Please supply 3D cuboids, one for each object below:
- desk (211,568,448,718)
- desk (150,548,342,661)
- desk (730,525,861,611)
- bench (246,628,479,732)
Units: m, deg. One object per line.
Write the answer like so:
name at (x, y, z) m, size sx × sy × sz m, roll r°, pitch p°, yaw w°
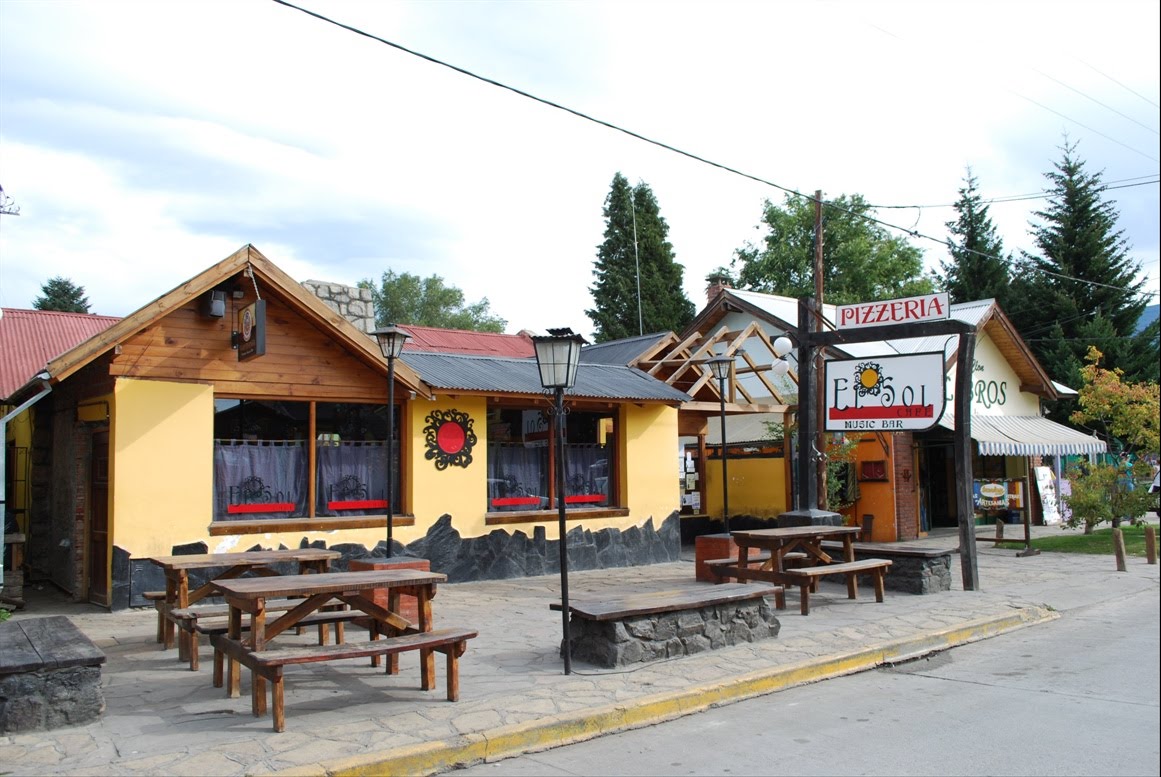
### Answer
desk at (-3.049, 2.914, 12.102) m, size 1.960 × 0.998 × 2.080 m, roll 2°, pitch -5°, yaw -35°
desk at (-4.762, 3.017, 13.988) m, size 2.440 × 1.176 × 2.079 m, roll 3°, pitch -4°, yaw -34°
desk at (3.630, 3.164, 16.898) m, size 1.562 × 0.827 × 1.713 m, roll 3°, pitch -7°, yaw -39°
bench at (-2.641, 3.428, 11.714) m, size 2.586 × 0.769 × 1.102 m, roll 1°, pitch -6°, yaw -27°
